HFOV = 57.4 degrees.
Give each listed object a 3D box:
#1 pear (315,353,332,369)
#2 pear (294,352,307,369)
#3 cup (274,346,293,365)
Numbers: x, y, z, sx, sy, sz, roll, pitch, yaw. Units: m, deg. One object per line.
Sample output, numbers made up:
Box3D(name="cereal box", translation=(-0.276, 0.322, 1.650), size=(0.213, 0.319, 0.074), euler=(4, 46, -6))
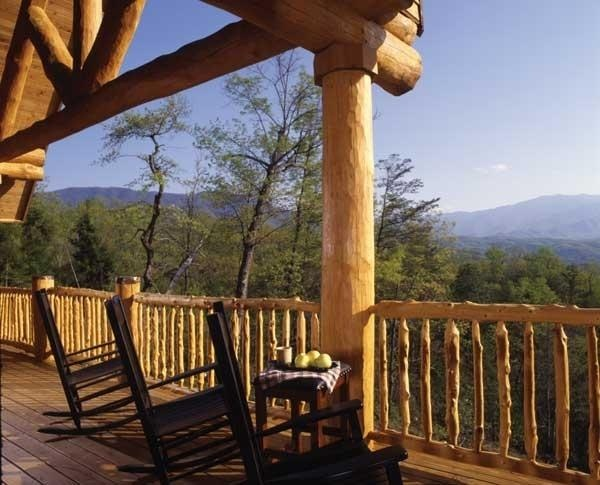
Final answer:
Box3D(name="pear", translation=(0.181, 0.907, 4.246), size=(0.096, 0.109, 0.101), euler=(7, -9, -12))
Box3D(name="pear", translation=(0.011, 0.910, 4.262), size=(0.094, 0.101, 0.093), euler=(22, -1, -39))
Box3D(name="cup", translation=(-0.124, 0.887, 4.362), size=(0.154, 0.157, 0.124), euler=(-1, -2, 4))
